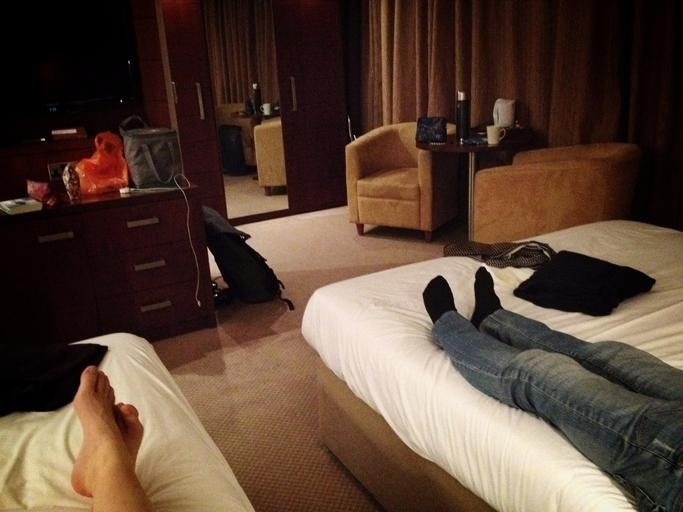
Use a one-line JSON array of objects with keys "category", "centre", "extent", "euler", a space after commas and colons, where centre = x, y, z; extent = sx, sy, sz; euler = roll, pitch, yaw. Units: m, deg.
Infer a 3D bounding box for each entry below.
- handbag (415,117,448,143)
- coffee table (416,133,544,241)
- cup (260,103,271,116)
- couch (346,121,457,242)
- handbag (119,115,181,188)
[{"category": "handbag", "centre": [0.685, -0.946, 3.874], "extent": [0.201, 0.224, 0.186], "euler": [3, -2, 14]}, {"category": "coffee table", "centre": [1.138, -0.428, 3.991], "extent": [0.916, 1.071, 0.932], "euler": [3, 21, 15]}, {"category": "cup", "centre": [-0.714, -1.401, 4.847], "extent": [0.113, 0.113, 0.071], "euler": [-14, 28, -33]}, {"category": "couch", "centre": [0.515, -0.689, 4.713], "extent": [0.985, 1.173, 1.027], "euler": [13, 29, 32]}, {"category": "handbag", "centre": [-1.095, -0.642, 3.059], "extent": [0.390, 0.413, 0.302], "euler": [18, 28, 38]}]
